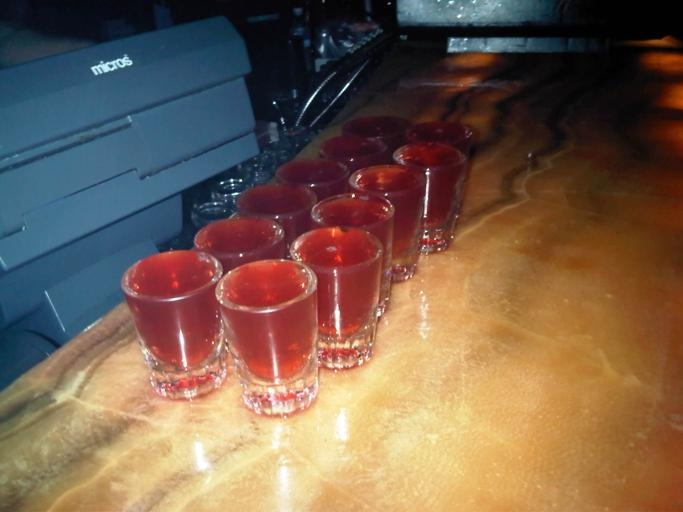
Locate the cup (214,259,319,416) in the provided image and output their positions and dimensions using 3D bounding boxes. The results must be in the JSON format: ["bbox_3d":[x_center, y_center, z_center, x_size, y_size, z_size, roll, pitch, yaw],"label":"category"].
[{"bbox_3d":[-0.059,0.073,0.415,0.081,0.125,0.069,-8,35,-9],"label":"cup"}]

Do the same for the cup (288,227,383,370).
[{"bbox_3d":[-0.003,0.041,0.479,0.089,0.123,0.078,-2,12,-4],"label":"cup"}]

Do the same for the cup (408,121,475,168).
[{"bbox_3d":[0.133,-0.168,0.647,0.070,0.050,0.068,-5,43,4],"label":"cup"}]

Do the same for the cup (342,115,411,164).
[{"bbox_3d":[0.047,-0.178,0.698,0.079,0.063,0.085,0,39,0],"label":"cup"}]

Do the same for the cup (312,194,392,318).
[{"bbox_3d":[0.022,-0.027,0.585,0.114,0.180,0.114,-3,35,2],"label":"cup"}]

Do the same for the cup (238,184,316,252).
[{"bbox_3d":[-0.068,-0.057,0.519,0.075,0.054,0.072,0,43,0],"label":"cup"}]

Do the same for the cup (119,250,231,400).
[{"bbox_3d":[-0.147,0.065,0.433,0.089,0.116,0.083,0,37,0],"label":"cup"}]

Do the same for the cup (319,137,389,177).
[{"bbox_3d":[0.018,-0.124,0.606,0.062,0.045,0.060,-1,49,2],"label":"cup"}]
